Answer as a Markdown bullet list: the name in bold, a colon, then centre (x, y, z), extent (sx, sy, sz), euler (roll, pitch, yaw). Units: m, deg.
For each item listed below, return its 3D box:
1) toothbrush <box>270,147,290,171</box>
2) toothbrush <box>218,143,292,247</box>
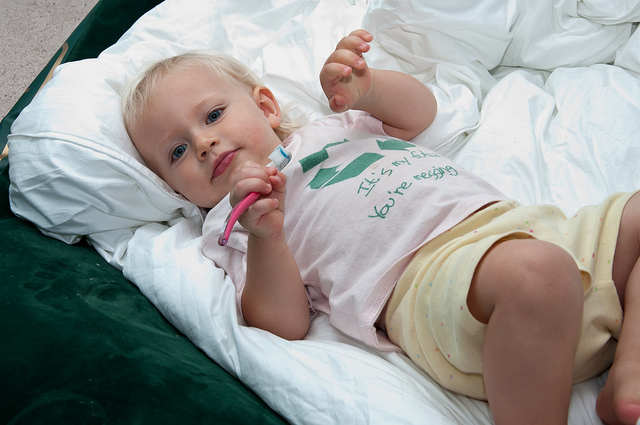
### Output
- **toothbrush**: centre (-0.098, -0.128, 1.301), extent (0.035, 0.045, 0.062), euler (46, 8, -22)
- **toothbrush**: centre (-0.165, -0.025, 1.235), extent (0.055, 0.394, 0.084), euler (35, -56, -4)
